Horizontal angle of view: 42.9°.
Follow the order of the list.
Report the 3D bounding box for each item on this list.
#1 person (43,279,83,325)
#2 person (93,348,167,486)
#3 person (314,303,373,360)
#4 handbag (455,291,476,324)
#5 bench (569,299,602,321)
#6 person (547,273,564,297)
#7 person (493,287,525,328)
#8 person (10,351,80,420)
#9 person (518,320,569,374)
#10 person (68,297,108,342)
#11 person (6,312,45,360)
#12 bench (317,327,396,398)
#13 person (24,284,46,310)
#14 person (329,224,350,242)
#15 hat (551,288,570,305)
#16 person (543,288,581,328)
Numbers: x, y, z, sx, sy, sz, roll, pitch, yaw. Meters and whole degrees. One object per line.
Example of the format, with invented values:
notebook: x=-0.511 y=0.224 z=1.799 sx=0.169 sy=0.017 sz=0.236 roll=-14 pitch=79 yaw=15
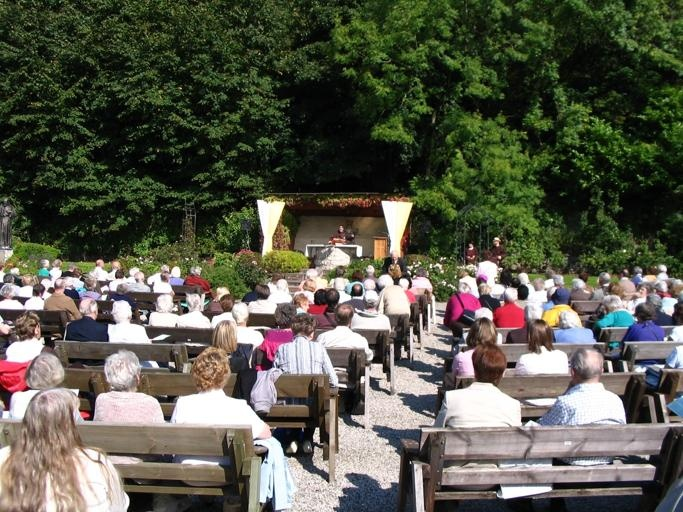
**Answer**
person: x=-5.368 y=0.848 z=16.638 sx=0.832 sy=0.807 sz=0.486 roll=7 pitch=11 yaw=33
person: x=-2.916 y=2.004 z=11.702 sx=1.161 sy=1.758 sz=1.347 roll=1 pitch=15 yaw=-4
person: x=0.051 y=1.243 z=14.185 sx=1.275 sy=1.126 sz=0.711 roll=0 pitch=16 yaw=-2
handbag: x=2.335 y=0.987 z=16.285 sx=0.276 sy=0.160 sz=0.479 roll=29 pitch=33 yaw=-39
bench: x=4.853 y=1.032 z=17.278 sx=0.527 sy=0.505 sz=0.410 roll=0 pitch=18 yaw=1
person: x=4.538 y=0.590 z=18.363 sx=0.425 sy=0.334 sz=0.704 roll=8 pitch=-15 yaw=-2
person: x=3.049 y=1.056 z=15.713 sx=0.613 sy=0.880 sz=0.493 roll=2 pitch=-1 yaw=14
person: x=-3.983 y=1.756 z=11.604 sx=0.717 sy=1.043 sz=0.596 roll=2 pitch=41 yaw=-15
person: x=3.127 y=1.425 z=13.374 sx=0.612 sy=0.851 sz=0.442 roll=-3 pitch=25 yaw=11
person: x=-4.392 y=1.094 z=14.954 sx=0.452 sy=0.450 sz=0.875 roll=2 pitch=52 yaw=-11
person: x=-4.950 y=1.260 z=13.562 sx=0.652 sy=0.953 sz=0.517 roll=3 pitch=5 yaw=-6
bench: x=0.217 y=1.716 z=14.153 sx=1.187 sy=0.779 sz=0.462 roll=1 pitch=19 yaw=12
person: x=-5.790 y=0.795 z=16.378 sx=0.375 sy=0.520 sz=0.953 roll=0 pitch=13 yaw=-19
person: x=-0.035 y=-0.839 z=32.400 sx=0.746 sy=0.729 sz=0.443 roll=1 pitch=3 yaw=2
hat: x=4.066 y=0.749 z=16.110 sx=0.248 sy=0.299 sz=0.328 roll=4 pitch=22 yaw=5
person: x=3.995 y=0.959 z=15.713 sx=0.465 sy=1.115 sz=0.417 roll=3 pitch=27 yaw=10
